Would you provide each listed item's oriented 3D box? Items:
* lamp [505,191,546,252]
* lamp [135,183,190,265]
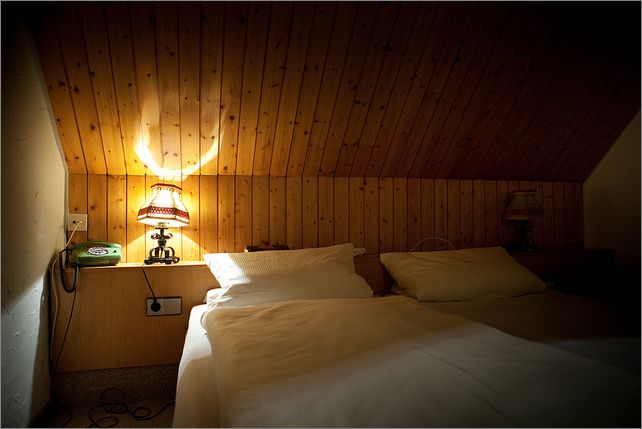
[{"bbox_3d":[1.802,0.054,3.632,0.306,0.364,0.412,-3,1,26],"label":"lamp"},{"bbox_3d":[-1.168,0.080,3.012,0.315,0.582,0.365,5,0,7],"label":"lamp"}]
